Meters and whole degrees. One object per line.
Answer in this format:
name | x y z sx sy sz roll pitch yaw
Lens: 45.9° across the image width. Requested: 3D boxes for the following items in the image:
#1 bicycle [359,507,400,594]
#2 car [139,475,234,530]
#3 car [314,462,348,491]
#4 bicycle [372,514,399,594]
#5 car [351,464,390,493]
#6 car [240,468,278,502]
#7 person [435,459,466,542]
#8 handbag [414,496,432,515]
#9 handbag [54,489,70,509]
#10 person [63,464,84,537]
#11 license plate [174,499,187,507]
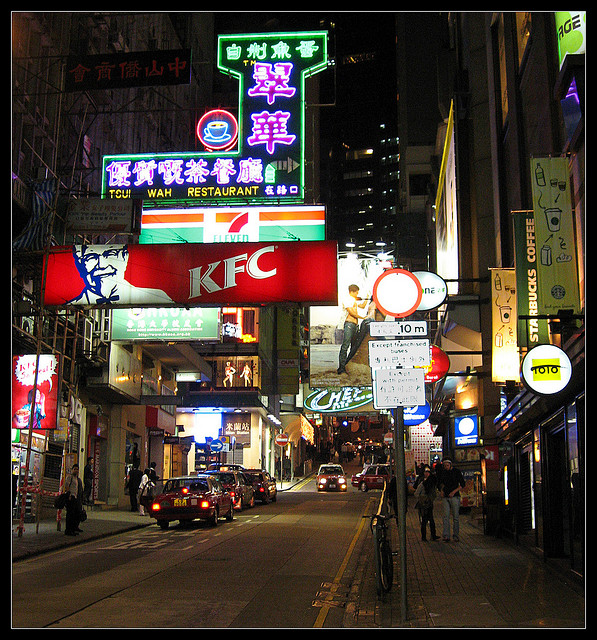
bicycle | 1.166 3.200 10.178 0.509 0.939 1.296 2 10 -7
car | -3.136 5.419 21.121 2.706 1.558 1.540 9 -17 -36
car | 1.882 9.173 41.069 1.592 1.627 2.378 -1 -14 -1
bicycle | 1.219 3.278 9.884 0.319 1.059 0.686 -1 -12 0
car | 4.143 8.926 40.109 2.088 1.708 4.609 -3 -15 6
car | -1.624 7.359 31.418 0.832 1.033 2.204 -1 -3 5
person | 3.604 4.267 16.761 0.599 1.878 1.438 -2 -13 4
handbag | 2.950 4.426 16.769 0.429 0.398 0.387 -13 -18 39
handbag | -5.810 4.430 17.391 0.245 0.636 0.436 1 -13 11
person | -5.690 4.528 17.752 0.480 1.803 1.306 3 -13 -17
license plate | -3.435 5.290 20.392 0.363 0.187 0.072 2 -12 -13
